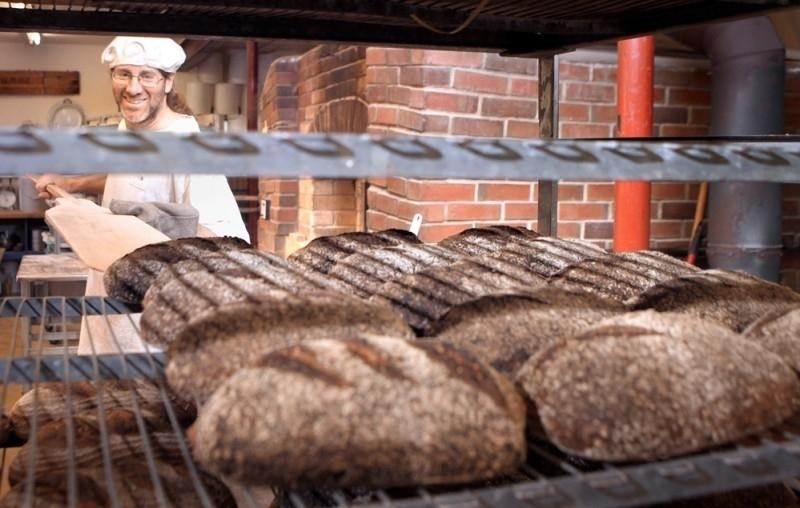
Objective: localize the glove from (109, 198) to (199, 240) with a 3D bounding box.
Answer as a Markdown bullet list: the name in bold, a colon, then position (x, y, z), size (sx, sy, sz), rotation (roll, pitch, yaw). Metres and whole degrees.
- **glove**: position (-0.478, -0.073, 1.408), size (0.133, 0.058, 0.174), rotation (4, 3, 33)

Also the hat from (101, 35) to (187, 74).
- **hat**: position (-0.947, -0.753, 2.547), size (0.343, 0.119, 0.297), rotation (9, 23, 24)
